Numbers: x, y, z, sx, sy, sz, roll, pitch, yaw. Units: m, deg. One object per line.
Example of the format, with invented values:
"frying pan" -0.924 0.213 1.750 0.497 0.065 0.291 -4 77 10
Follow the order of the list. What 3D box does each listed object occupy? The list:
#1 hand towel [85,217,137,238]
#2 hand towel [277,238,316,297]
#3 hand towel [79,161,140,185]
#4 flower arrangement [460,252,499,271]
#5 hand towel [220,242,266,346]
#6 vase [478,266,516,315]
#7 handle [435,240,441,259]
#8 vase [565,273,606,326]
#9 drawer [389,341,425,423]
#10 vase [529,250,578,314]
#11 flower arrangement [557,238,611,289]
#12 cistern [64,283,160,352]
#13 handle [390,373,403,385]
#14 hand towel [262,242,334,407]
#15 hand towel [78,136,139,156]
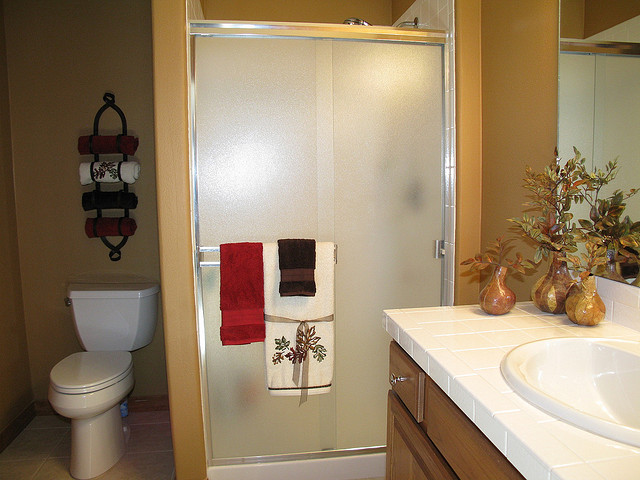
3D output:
"hand towel" -1.237 -0.082 3.032 0.245 0.114 0.126 -1 13 -6
"hand towel" -0.110 0.132 2.480 0.181 0.285 0.066 -3 7 -10
"hand towel" -1.224 -0.409 3.056 0.308 0.136 0.149 -2 9 -3
"flower arrangement" 0.657 0.093 2.095 0.126 0.064 0.088 -3 9 7
"hand towel" -0.376 0.262 2.484 0.221 0.518 0.066 -2 8 -13
"vase" 0.713 0.205 2.053 0.136 0.209 0.144 1 3 0
"handle" 0.599 0.044 2.611 0.031 0.092 0.008 -4 8 -9
"vase" 0.991 0.219 1.883 0.157 0.189 0.074 -4 8 -1
"drawer" 0.306 0.526 1.892 0.087 0.220 0.139 2 7 -2
"vase" 0.882 0.145 2.019 0.196 0.299 0.210 3 6 21
"flower arrangement" 0.968 0.075 1.894 0.084 0.202 0.159 1 10 -8
"cistern" -1.245 0.443 3.109 0.516 0.411 0.323 0 9 -13
"handle" 0.292 0.530 1.955 0.039 0.033 0.035 0 -1 -18
"hand towel" -0.106 0.404 2.547 0.350 0.853 0.107 -1 10 -6
"hand towel" -1.243 -0.553 3.052 0.284 0.112 0.101 -3 5 -1
